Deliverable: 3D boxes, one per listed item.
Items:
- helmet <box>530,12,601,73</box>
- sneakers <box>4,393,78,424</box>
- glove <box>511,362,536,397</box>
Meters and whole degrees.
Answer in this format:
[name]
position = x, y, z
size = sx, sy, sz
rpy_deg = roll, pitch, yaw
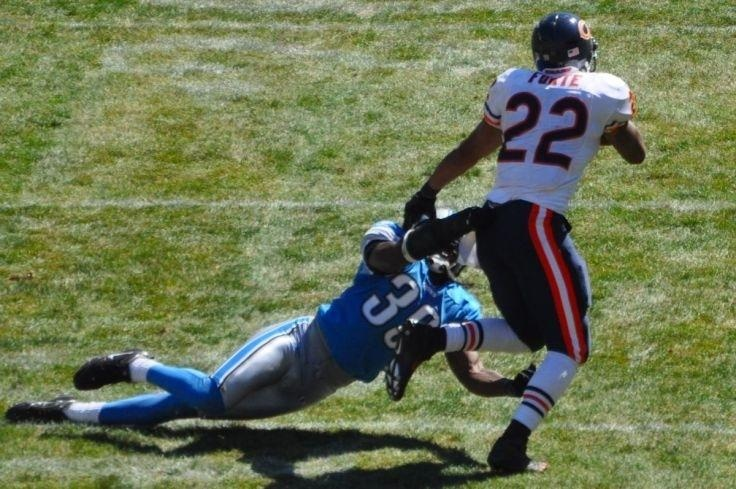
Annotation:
[helmet]
position = 1.733, -1.786, 12.207
size = 0.465, 0.420, 0.580
rpy_deg = 7, 23, 28
[sneakers]
position = -2.824, 1.418, 12.127
size = 0.707, 0.187, 0.275
rpy_deg = 1, 25, 8
[glove]
position = 1.314, 1.154, 11.964
size = 0.242, 0.242, 0.278
rpy_deg = -8, -11, -6
